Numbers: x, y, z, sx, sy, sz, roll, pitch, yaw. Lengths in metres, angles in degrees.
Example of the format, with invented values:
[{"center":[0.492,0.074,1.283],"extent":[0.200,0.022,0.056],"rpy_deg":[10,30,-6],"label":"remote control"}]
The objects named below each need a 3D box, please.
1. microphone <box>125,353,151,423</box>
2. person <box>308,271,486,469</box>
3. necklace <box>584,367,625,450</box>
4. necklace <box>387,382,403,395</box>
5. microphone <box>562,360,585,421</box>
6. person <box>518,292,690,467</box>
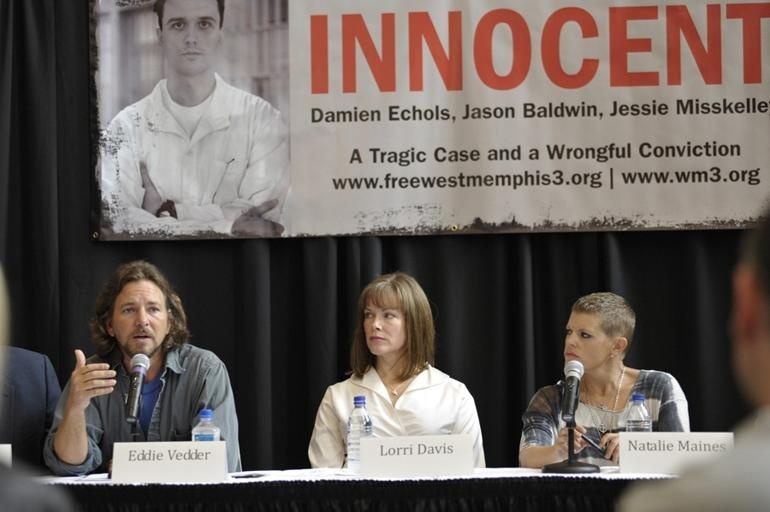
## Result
[{"center":[-1.252,0.672,6.349],"extent":[0.102,0.263,0.374],"rpy_deg":[2,-1,-11],"label":"microphone"},{"center":[0.049,0.750,7.039],"extent":[0.821,1.297,0.658],"rpy_deg":[3,-27,-1],"label":"person"},{"center":[1.181,0.828,6.689],"extent":[0.072,0.395,0.180],"rpy_deg":[14,-5,-39],"label":"necklace"},{"center":[0.064,0.747,6.973],"extent":[0.098,0.074,0.053],"rpy_deg":[3,-1,3],"label":"necklace"},{"center":[0.969,0.698,6.451],"extent":[0.095,0.312,0.431],"rpy_deg":[1,-1,9],"label":"microphone"},{"center":[1.185,0.831,6.741],"extent":[0.809,1.345,0.805],"rpy_deg":[0,-40,10],"label":"person"}]
